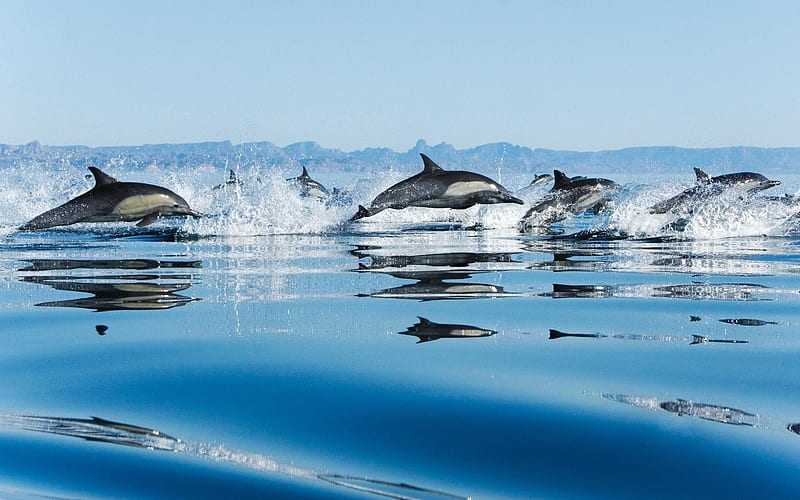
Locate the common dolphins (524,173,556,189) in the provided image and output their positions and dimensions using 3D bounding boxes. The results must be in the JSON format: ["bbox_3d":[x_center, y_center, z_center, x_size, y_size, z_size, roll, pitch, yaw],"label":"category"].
[{"bbox_3d":[4.618,-2.282,30.646,0.700,0.663,1.638,-15,5,-2],"label":"common dolphins"}]

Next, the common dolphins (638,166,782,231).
[{"bbox_3d":[7.388,-1.225,23.374,3.981,1.398,1.168,-10,39,26],"label":"common dolphins"}]

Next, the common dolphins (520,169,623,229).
[{"bbox_3d":[4.513,-1.343,24.779,2.442,1.444,0.943,-1,2,10],"label":"common dolphins"}]

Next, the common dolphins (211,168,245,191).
[{"bbox_3d":[-6.555,-2.632,34.634,0.984,0.932,4.337,-1,2,-11],"label":"common dolphins"}]

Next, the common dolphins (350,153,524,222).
[{"bbox_3d":[0.938,-1.442,21.825,4.964,1.646,1.405,-2,2,6],"label":"common dolphins"}]
